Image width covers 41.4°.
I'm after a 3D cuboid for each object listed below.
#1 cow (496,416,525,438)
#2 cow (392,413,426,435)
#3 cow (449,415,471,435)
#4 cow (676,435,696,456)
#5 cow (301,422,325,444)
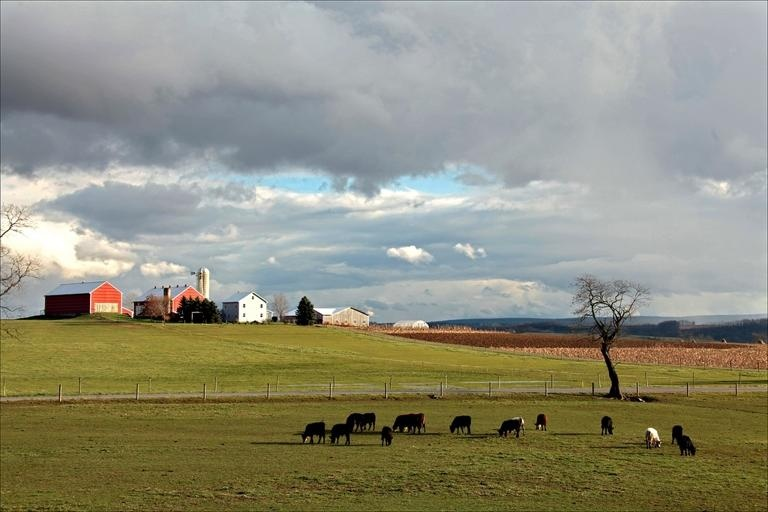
[{"bbox_3d":[12.787,17.001,101.154,2.735,1.808,1.932,-1,12,-11],"label":"cow"},{"bbox_3d":[2.640,16.712,101.568,2.935,1.820,1.369,1,12,-1],"label":"cow"},{"bbox_3d":[7.855,16.835,102.013,2.200,1.659,2.161,2,12,4],"label":"cow"},{"bbox_3d":[29.247,18.008,97.271,1.918,1.628,1.940,3,12,10],"label":"cow"},{"bbox_3d":[-6.749,17.022,98.639,2.220,2.085,2.390,0,12,-6],"label":"cow"}]
